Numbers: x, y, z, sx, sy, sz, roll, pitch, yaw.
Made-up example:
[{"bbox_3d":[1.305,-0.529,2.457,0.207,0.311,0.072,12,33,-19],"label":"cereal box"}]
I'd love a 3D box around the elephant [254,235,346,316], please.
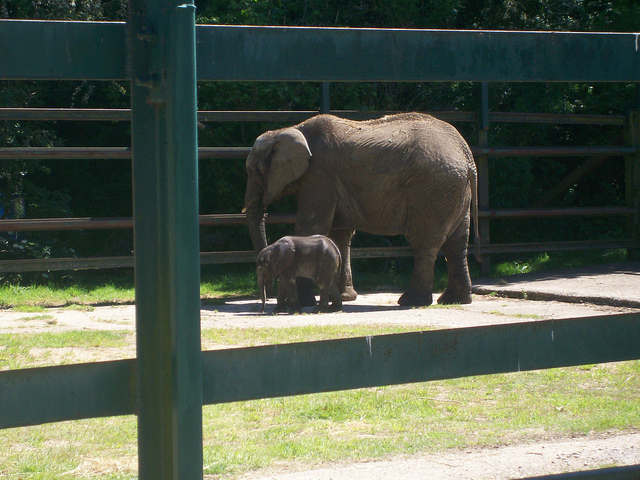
[{"bbox_3d":[-0.194,0.361,11.847,0.904,0.813,0.916,4,14,19],"label":"elephant"}]

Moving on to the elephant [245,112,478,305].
[{"bbox_3d":[0.324,-0.326,12.724,2.560,2.210,1.150,1,13,14],"label":"elephant"}]
